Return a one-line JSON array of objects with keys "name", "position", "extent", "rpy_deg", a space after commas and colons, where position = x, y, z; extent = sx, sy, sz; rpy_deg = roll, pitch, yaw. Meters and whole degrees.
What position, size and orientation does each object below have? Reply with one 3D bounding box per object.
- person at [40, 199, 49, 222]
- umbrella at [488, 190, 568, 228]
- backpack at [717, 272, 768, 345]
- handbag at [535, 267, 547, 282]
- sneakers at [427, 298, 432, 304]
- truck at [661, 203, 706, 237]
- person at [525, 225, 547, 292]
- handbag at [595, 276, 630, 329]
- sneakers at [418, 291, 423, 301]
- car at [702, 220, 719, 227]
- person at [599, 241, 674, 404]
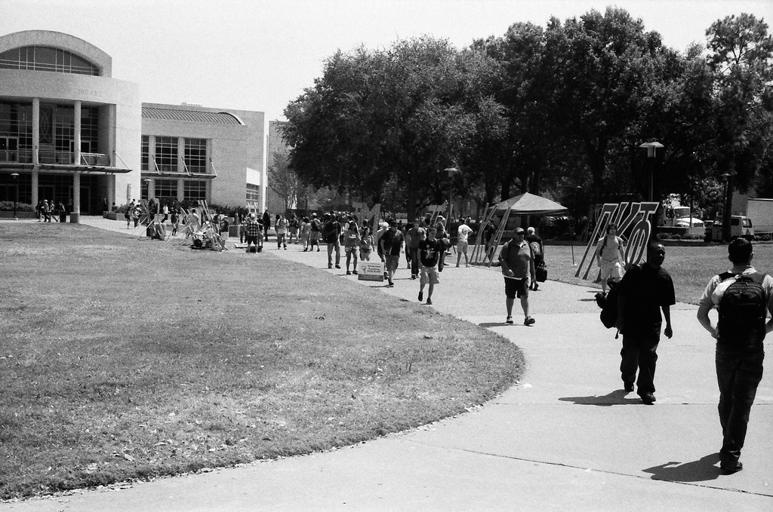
[{"name": "person", "position": [-24.489, -2.997, 61.357], "extent": [0.738, 1.310, 2.528], "rpy_deg": [-4, 14, -22]}, {"name": "umbrella", "position": [6.433, -2.236, 39.600], "extent": [2.883, 1.317, 3.505], "rpy_deg": [-1, 13, -12]}, {"name": "backpack", "position": [4.619, 0.726, 11.131], "extent": [0.596, 0.884, 0.388], "rpy_deg": [4, 13, 12]}, {"name": "handbag", "position": [4.424, 0.559, 24.471], "extent": [0.312, 0.488, 0.373], "rpy_deg": [5, -3, -26]}, {"name": "sneakers", "position": [1.090, 1.179, 22.013], "extent": [0.175, 0.205, 0.091], "rpy_deg": [4, 0, -4]}, {"name": "truck", "position": [23.545, -2.971, 71.376], "extent": [4.011, 2.470, 2.395], "rpy_deg": [13, 10, 39]}, {"name": "person", "position": [4.456, 0.110, 25.128], "extent": [0.616, 1.894, 0.645], "rpy_deg": [-10, -14, -2]}, {"name": "handbag", "position": [3.603, 0.763, 13.751], "extent": [0.282, 0.798, 0.536], "rpy_deg": [5, 3, -4]}, {"name": "sneakers", "position": [0.886, 1.075, 22.511], "extent": [0.209, 0.274, 0.650], "rpy_deg": [2, -3, -1]}, {"name": "car", "position": [27.898, -2.765, 73.751], "extent": [1.460, 0.708, 2.504], "rpy_deg": [4, 6, 29]}, {"name": "person", "position": [3.946, 1.011, 13.549], "extent": [1.097, 2.469, 1.167], "rpy_deg": [5, 13, 19]}]
